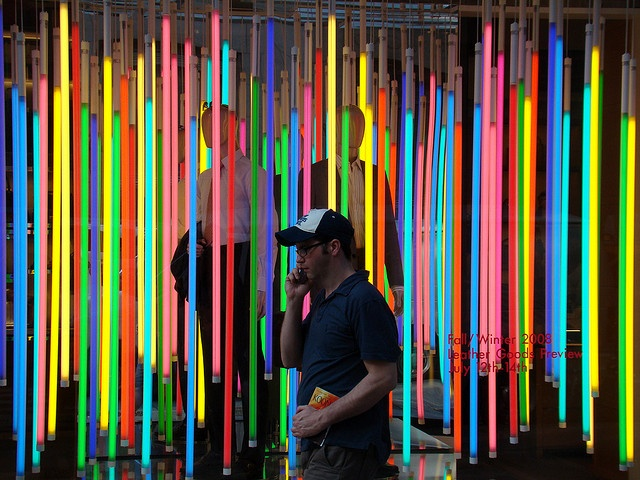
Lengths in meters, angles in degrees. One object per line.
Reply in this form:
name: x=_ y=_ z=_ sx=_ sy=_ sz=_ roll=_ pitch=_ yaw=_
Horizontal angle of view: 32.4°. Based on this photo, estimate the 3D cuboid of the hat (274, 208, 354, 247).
hat: x=-0.011 y=-0.054 z=4.910 sx=0.352 sy=0.204 sz=0.235 roll=4 pitch=-6 yaw=-3

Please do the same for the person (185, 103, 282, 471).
person: x=-0.430 y=0.276 z=5.681 sx=0.430 sy=1.945 sz=0.534 roll=0 pitch=1 yaw=-3
